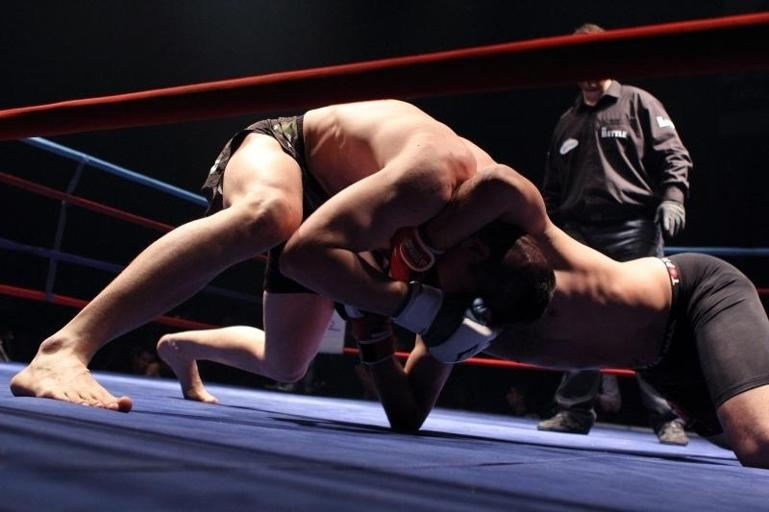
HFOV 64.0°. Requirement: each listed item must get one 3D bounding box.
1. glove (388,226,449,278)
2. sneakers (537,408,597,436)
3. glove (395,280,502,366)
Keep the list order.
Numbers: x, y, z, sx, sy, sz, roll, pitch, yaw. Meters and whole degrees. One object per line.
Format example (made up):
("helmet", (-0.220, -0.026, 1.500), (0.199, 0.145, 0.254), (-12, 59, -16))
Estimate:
("glove", (0.095, -0.013, 2.196), (0.149, 0.148, 0.195), (-41, 11, -21))
("sneakers", (0.984, 0.848, 3.312), (0.291, 0.145, 0.106), (-1, 77, 25))
("glove", (0.202, 0.224, 2.065), (0.265, 0.143, 0.313), (-31, 42, -24))
